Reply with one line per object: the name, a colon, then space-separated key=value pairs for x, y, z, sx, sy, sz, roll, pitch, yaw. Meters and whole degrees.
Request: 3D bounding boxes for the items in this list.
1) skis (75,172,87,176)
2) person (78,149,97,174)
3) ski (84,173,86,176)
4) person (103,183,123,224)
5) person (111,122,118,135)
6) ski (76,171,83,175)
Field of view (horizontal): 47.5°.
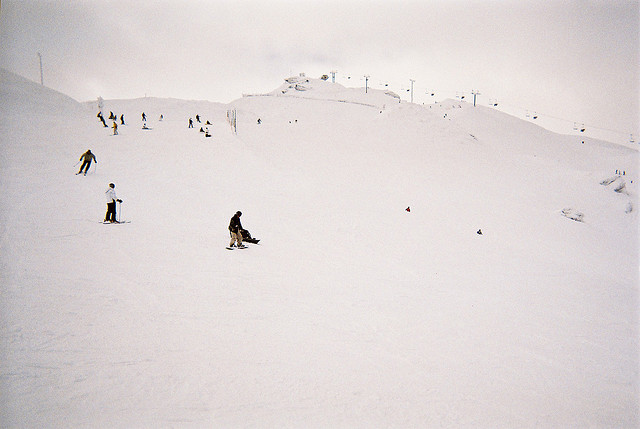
skis: x=-10.305 y=-1.733 z=31.211 sx=0.575 sy=0.195 sz=0.147 roll=-1 pitch=10 yaw=-13
person: x=-10.149 y=-2.227 z=31.560 sx=0.602 sy=1.125 sz=0.717 roll=5 pitch=-9 yaw=-12
ski: x=-10.111 y=-1.709 z=31.188 sx=0.058 sy=0.069 sz=0.061 roll=9 pitch=18 yaw=18
person: x=-8.292 y=-0.392 z=29.087 sx=0.702 sy=1.530 sz=0.808 roll=-4 pitch=-11 yaw=41
person: x=-9.987 y=-4.198 z=35.407 sx=0.240 sy=0.806 sz=0.964 roll=6 pitch=-9 yaw=-19
ski: x=-10.363 y=-1.767 z=31.205 sx=0.134 sy=0.055 sz=0.105 roll=-20 pitch=15 yaw=24
